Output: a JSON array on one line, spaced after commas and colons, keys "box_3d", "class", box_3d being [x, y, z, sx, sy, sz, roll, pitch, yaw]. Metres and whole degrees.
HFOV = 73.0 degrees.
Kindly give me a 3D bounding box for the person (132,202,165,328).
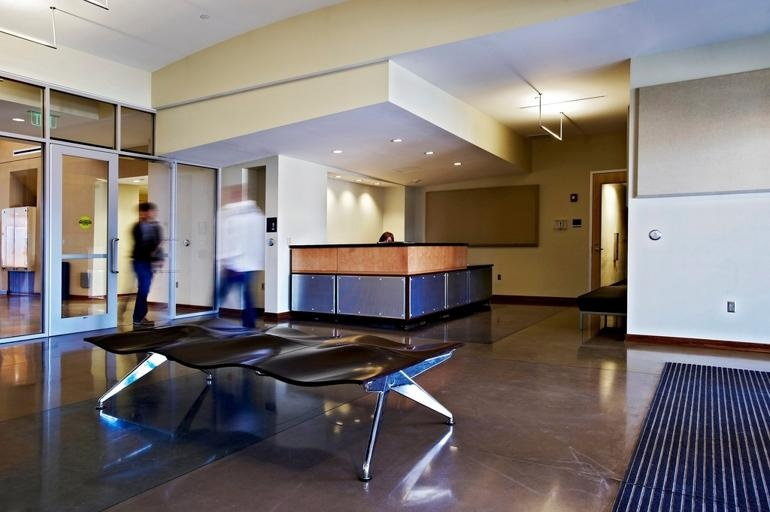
[{"box_3d": [-4.116, 0.141, 8.967, 0.348, 2.088, 0.648, 3, 12, 15], "class": "person"}]
